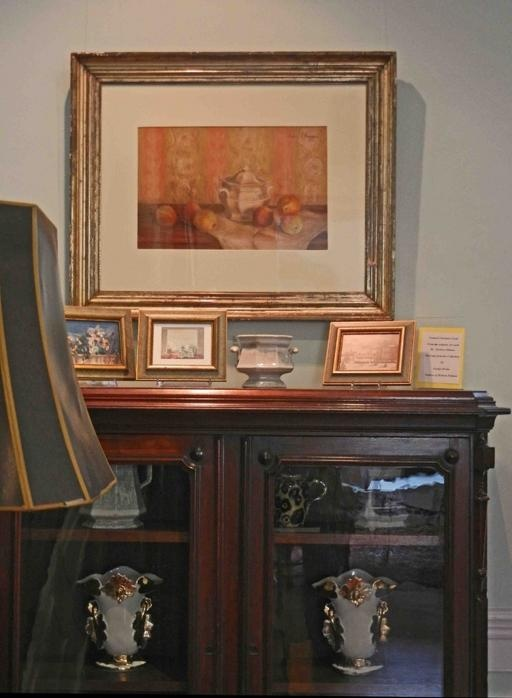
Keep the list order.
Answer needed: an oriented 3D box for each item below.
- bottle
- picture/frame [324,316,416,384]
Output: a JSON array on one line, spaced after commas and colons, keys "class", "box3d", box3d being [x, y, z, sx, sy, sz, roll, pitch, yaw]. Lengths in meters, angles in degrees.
[{"class": "bottle", "box3d": [-0.253, 0.291, 1.790, 0.183, 0.168, 0.129, 1, -3, 0]}, {"class": "picture/frame", "box3d": [0.249, -0.008, 2.021, 0.176, 0.145, 0.100, 3, 6, 22]}]
